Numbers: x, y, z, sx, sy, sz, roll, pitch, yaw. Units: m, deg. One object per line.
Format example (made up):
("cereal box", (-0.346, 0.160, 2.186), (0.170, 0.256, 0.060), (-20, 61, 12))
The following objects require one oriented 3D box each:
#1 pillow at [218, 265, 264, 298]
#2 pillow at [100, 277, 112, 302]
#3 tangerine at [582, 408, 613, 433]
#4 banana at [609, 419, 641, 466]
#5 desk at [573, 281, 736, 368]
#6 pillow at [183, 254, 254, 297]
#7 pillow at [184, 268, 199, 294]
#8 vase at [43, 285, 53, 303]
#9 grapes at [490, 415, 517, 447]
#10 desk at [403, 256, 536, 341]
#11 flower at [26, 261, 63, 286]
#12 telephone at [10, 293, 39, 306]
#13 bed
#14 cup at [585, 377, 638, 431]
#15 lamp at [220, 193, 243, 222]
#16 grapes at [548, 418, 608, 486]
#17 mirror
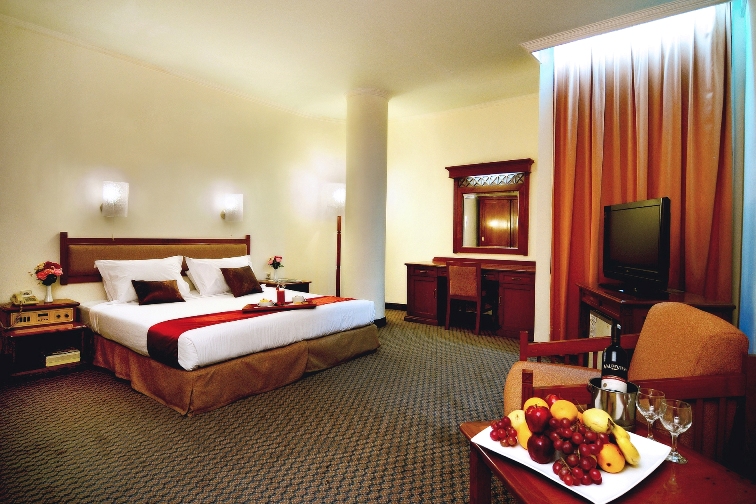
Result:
("pillow", (-1.648, 0.363, 6.251), (0.115, 0.382, 0.363), (-39, -26, 32))
("pillow", (-3.063, 0.425, 5.812), (0.164, 0.267, 0.071), (-1, 7, 38))
("tangerine", (1.317, 1.020, 3.116), (0.153, 0.087, 0.120), (12, 32, 6))
("banana", (1.476, 1.153, 3.137), (0.107, 0.295, 0.112), (-43, -16, 9))
("desk", (2.407, 0.814, 4.848), (0.657, 0.959, 1.022), (2, 4, -9))
("pillow", (-2.056, 0.273, 6.271), (0.647, 0.473, 0.191), (-3, -17, -46))
("pillow", (-2.306, 0.366, 6.313), (0.102, 0.271, 0.266), (-19, 4, -16))
("vase", (-3.530, 0.451, 5.509), (0.077, 0.165, 0.248), (-7, 7, -33))
("grapes", (0.775, 1.118, 3.191), (0.132, 0.140, 0.171), (-2, -4, 9))
("desk", (1.353, 0.588, 7.206), (1.954, 0.929, 0.736), (3, 5, 33))
("flower", (-3.506, 0.216, 5.449), (0.293, 0.139, 0.265), (9, 11, 41))
("telephone", (-3.625, 0.482, 5.279), (0.218, 0.095, 0.135), (1, 2, 38))
("bed", (-1.991, 0.906, 5.593), (2.211, 1.322, 2.233), (2, 4, 44))
("cup", (1.492, 0.971, 3.388), (0.315, 0.299, 0.288), (2, 4, 0))
("lamp", (-1.977, -0.595, 6.918), (0.290, 0.372, 0.108), (-9, 8, -43))
("grapes", (1.166, 1.206, 3.155), (0.383, 0.344, 0.340), (31, -36, -22))
("mirror", (1.657, -0.657, 7.428), (1.456, 1.481, 0.249), (-1, -2, 26))
